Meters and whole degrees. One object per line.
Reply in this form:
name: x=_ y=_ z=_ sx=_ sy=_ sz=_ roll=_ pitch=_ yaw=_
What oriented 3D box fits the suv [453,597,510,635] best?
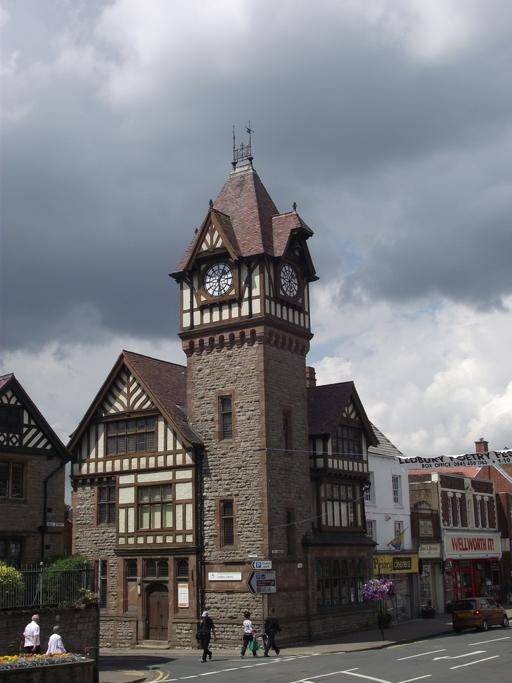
suv: x=9.851 y=12.155 z=40.696 sx=1.424 sy=1.143 sz=2.665 roll=-14 pitch=-15 yaw=42

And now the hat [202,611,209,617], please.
hat: x=-1.844 y=9.950 z=33.389 sx=0.485 sy=0.194 sz=0.600 roll=2 pitch=-13 yaw=-2

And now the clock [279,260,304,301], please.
clock: x=1.507 y=-2.706 z=40.256 sx=0.111 sy=1.527 sz=1.610 roll=-11 pitch=-25 yaw=28

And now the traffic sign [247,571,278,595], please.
traffic sign: x=0.224 y=9.270 z=35.074 sx=0.142 sy=0.717 sz=1.079 roll=-22 pitch=-23 yaw=35

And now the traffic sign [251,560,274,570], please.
traffic sign: x=0.240 y=8.672 z=35.409 sx=0.938 sy=0.418 sz=0.280 roll=13 pitch=-24 yaw=-40

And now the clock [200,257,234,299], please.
clock: x=-1.632 y=-2.761 z=39.718 sx=1.594 sy=1.587 sz=0.065 roll=-23 pitch=-31 yaw=34
